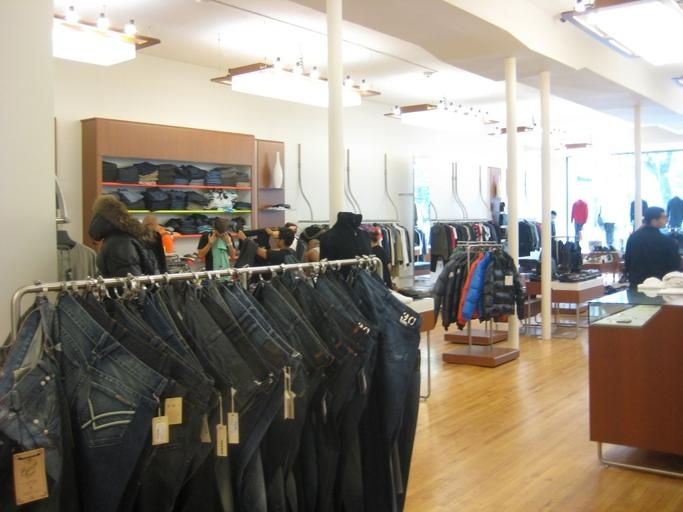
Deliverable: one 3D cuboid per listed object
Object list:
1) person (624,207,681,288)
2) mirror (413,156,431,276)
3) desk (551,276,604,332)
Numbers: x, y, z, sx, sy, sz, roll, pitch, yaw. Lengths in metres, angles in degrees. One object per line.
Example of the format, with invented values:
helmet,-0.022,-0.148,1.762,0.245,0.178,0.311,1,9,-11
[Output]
person,3.738,-0.101,6.550,0.571,0.964,0.406,2,5,34
mirror,1.803,-0.997,12.042,0.450,2.352,0.220,-2,4,-7
desk,3.903,0.729,9.009,0.774,0.891,2.209,0,5,22
